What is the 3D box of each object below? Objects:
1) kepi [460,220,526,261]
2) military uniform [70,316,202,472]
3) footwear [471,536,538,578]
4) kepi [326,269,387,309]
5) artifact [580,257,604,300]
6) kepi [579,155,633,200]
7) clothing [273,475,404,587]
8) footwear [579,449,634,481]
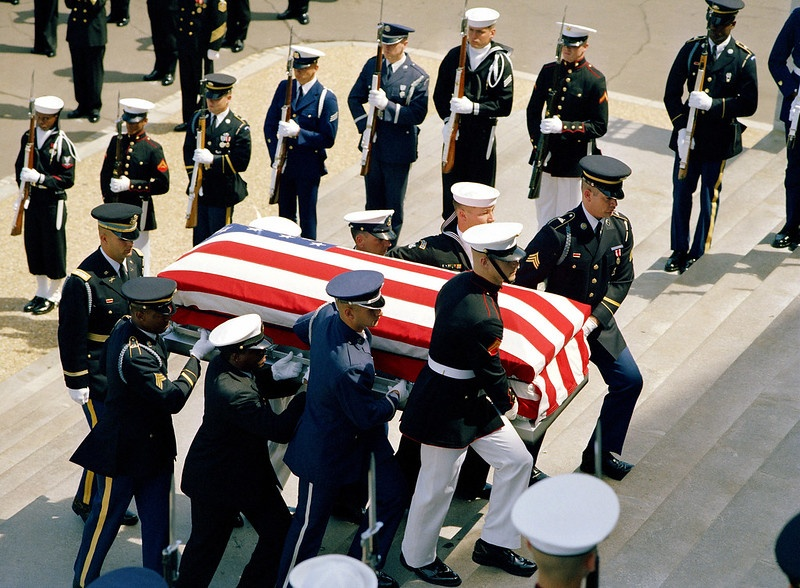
[{"bbox_3d":[0.624,-0.359,8.696,0.443,0.173,0.360,11,28,16],"label":"kepi"},{"bbox_3d":[-1.804,0.663,9.035,0.866,1.203,0.520,-1,48,-15],"label":"military uniform"},{"bbox_3d":[0.708,1.747,9.018,0.541,0.216,0.171,10,22,15],"label":"footwear"},{"bbox_3d":[-0.279,-0.009,8.589,0.343,0.137,0.340,-18,27,-40],"label":"kepi"},{"bbox_3d":[1.371,-0.099,9.526,0.047,0.292,0.117,13,0,-3],"label":"artifact"},{"bbox_3d":[1.456,-0.835,9.530,0.356,0.259,0.299,8,18,4],"label":"kepi"},{"bbox_3d":[-0.399,1.467,8.926,0.766,0.781,0.258,26,6,-4],"label":"clothing"},{"bbox_3d":[1.502,1.211,9.541,0.494,0.191,0.171,2,14,12],"label":"footwear"}]
